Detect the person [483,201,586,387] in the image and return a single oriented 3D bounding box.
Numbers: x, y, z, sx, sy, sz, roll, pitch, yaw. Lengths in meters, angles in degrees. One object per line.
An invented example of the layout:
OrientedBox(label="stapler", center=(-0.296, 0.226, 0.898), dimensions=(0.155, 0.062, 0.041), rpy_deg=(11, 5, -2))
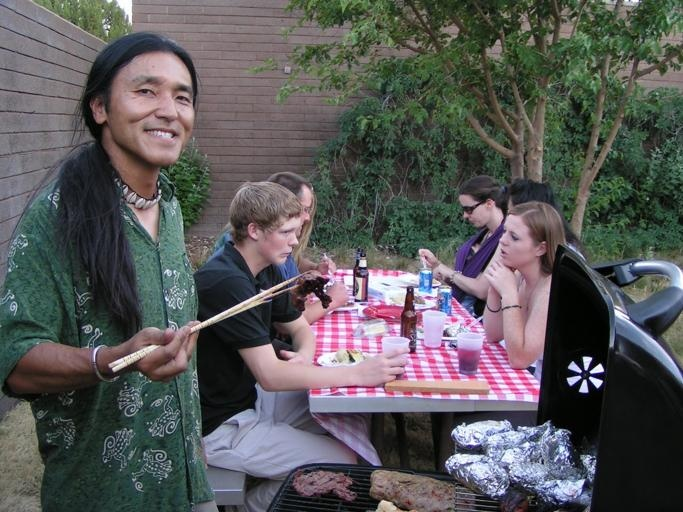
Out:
OrientedBox(label="person", center=(0.938, 0.131, 2.625), dimensions=(0.438, 0.998, 0.497), rpy_deg=(4, 10, 1))

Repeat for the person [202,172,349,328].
OrientedBox(label="person", center=(-0.396, 0.050, 3.449), dimensions=(0.735, 1.093, 0.801), rpy_deg=(6, 11, -11))

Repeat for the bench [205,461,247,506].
OrientedBox(label="bench", center=(-0.517, 0.986, 2.368), dimensions=(0.259, 0.166, 0.178), rpy_deg=(0, 7, -13))

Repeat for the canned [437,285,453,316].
OrientedBox(label="canned", center=(0.631, 0.276, 3.208), dimensions=(0.107, 0.216, 0.120), rpy_deg=(-3, 9, -4))
